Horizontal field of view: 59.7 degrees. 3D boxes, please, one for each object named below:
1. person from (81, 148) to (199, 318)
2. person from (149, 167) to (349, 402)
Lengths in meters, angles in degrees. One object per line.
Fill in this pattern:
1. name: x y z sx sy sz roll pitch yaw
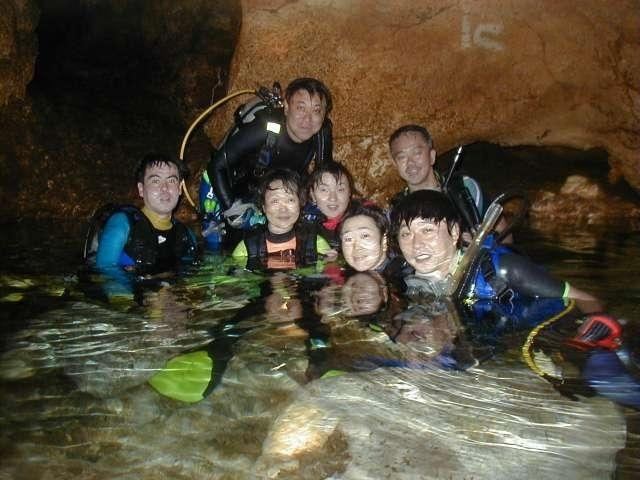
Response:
1. person: -1.563 -0.210 4.863 0.996 1.141 1.416 -1 5 -17
2. person: -0.574 0.267 4.296 0.911 0.870 1.811 22 27 18
